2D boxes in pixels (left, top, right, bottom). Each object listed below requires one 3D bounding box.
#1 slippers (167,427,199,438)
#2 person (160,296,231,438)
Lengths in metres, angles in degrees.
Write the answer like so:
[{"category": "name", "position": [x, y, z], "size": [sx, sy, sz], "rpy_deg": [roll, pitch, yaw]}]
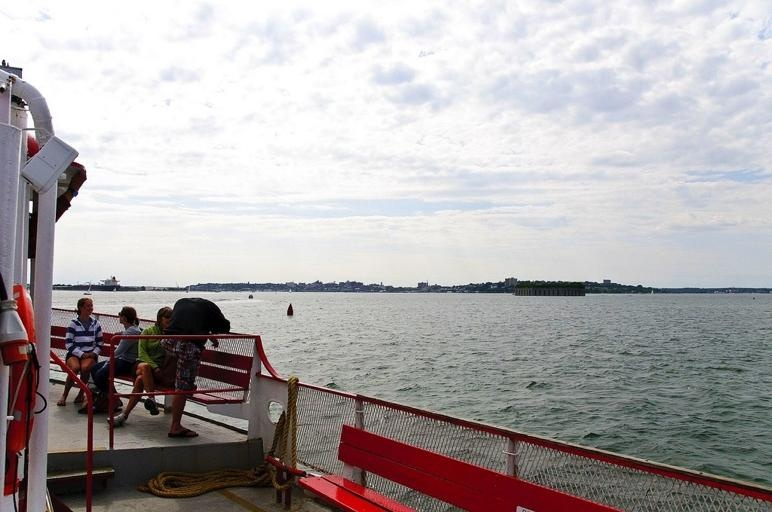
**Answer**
[{"category": "slippers", "position": [-3.235, 2.777, 9.062], "size": [0.410, 0.192, 0.193], "rpy_deg": [1, -4, -12]}, {"category": "person", "position": [-3.107, 1.796, 9.225], "size": [0.961, 2.194, 0.877], "rpy_deg": [1, -3, -20]}]
